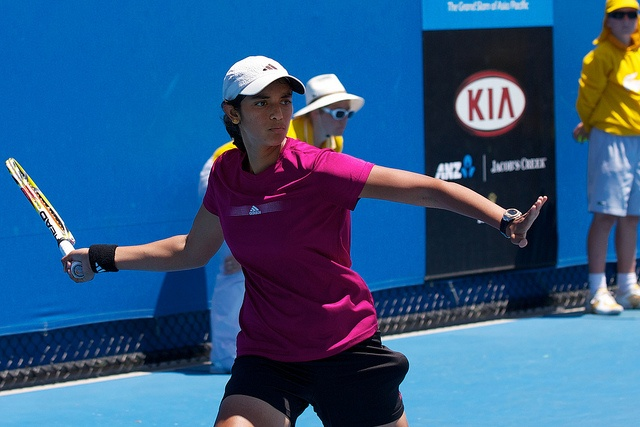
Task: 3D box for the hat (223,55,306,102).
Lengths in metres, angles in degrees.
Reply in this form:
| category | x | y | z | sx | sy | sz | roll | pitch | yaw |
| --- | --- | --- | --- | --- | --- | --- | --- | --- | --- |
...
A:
| category | x | y | z | sx | sy | sz | roll | pitch | yaw |
| --- | --- | --- | --- | --- | --- | --- | --- | --- | --- |
| hat | -0.358 | -0.737 | 4.132 | 0.260 | 0.185 | 0.352 | -13 | -4 | -45 |

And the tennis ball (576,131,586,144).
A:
| category | x | y | z | sx | sy | sz | roll | pitch | yaw |
| --- | --- | --- | --- | --- | --- | --- | --- | --- | --- |
| tennis ball | 2.622 | -0.780 | 7.519 | 0.048 | 0.155 | 0.106 | -2 | 13 | 2 |

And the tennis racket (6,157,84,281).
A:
| category | x | y | z | sx | sy | sz | roll | pitch | yaw |
| --- | --- | --- | --- | --- | --- | --- | --- | --- | --- |
| tennis racket | -2.270 | 0.045 | 5.982 | 0.218 | 1.054 | 0.276 | -32 | -7 | 8 |

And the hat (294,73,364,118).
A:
| category | x | y | z | sx | sy | sz | roll | pitch | yaw |
| --- | --- | --- | --- | --- | --- | --- | --- | --- | --- |
| hat | 0.016 | -1.040 | 6.241 | 0.457 | 0.242 | 0.466 | -17 | -1 | -28 |

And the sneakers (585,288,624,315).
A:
| category | x | y | z | sx | sy | sz | roll | pitch | yaw |
| --- | --- | --- | --- | --- | --- | --- | --- | --- | --- |
| sneakers | 2.832 | 0.924 | 7.552 | 0.159 | 0.200 | 0.419 | 0 | -7 | -21 |
